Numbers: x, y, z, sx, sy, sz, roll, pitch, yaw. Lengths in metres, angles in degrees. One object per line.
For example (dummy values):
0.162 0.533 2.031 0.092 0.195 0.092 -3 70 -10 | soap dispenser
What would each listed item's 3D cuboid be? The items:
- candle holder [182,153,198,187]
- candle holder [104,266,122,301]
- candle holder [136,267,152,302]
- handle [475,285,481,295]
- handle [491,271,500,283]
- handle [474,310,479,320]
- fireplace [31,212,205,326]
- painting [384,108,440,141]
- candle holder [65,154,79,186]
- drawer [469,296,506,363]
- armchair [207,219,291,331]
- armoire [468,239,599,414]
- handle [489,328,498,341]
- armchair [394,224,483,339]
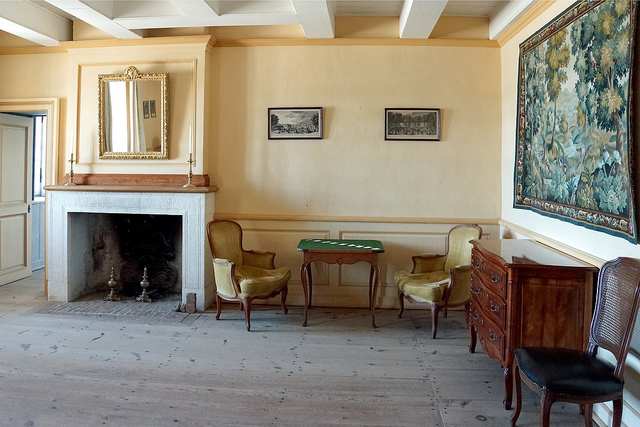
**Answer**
-1.725 -0.570 6.224 0.187 0.442 0.248 -3 8 -16 | candle holder
-2.938 1.005 6.643 0.222 0.392 0.425 -4 8 -24 | candle holder
-2.473 1.008 6.574 0.202 0.426 0.314 -4 8 -21 | candle holder
1.635 0.805 4.817 0.017 0.054 0.043 3 16 -24 | handle
1.666 0.603 4.426 0.095 0.115 0.035 -6 6 35 | handle
1.631 1.075 4.860 0.013 0.046 0.052 12 -1 -16 | handle
-2.646 0.547 6.311 2.186 1.273 1.356 1 5 -1 | fireplace
1.244 -1.195 6.295 0.778 0.415 0.024 7 21 33 | painting
-3.418 -0.591 6.430 0.158 0.417 0.263 -5 8 -27 | candle holder
1.649 1.133 4.539 0.369 0.240 0.556 1 5 -1 | drawer
-0.992 0.697 6.041 1.098 1.296 1.024 3 4 37 | armchair
1.956 1.036 4.218 0.858 1.328 1.650 2 3 2 | armoire
1.648 1.162 4.453 0.074 0.140 0.021 -11 20 5 | handle
1.478 0.808 5.868 0.960 1.246 0.924 2 8 23 | armchair
